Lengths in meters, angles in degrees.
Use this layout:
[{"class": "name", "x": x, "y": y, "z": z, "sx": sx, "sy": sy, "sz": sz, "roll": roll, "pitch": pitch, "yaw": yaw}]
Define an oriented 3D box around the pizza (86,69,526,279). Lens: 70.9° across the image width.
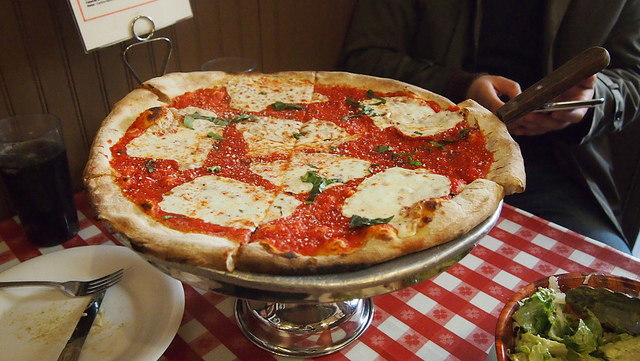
[{"class": "pizza", "x": -0.136, "y": -0.036, "z": 2.179, "sx": 1.753, "sy": 0.208, "sz": 1.229, "roll": 8, "pitch": 40, "yaw": 7}]
